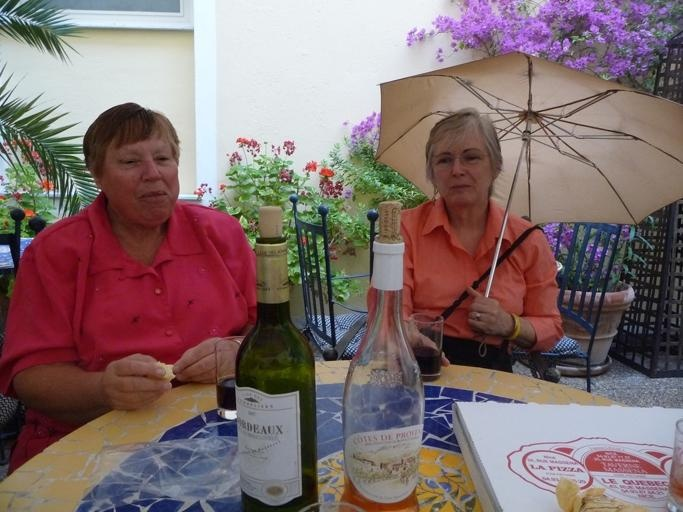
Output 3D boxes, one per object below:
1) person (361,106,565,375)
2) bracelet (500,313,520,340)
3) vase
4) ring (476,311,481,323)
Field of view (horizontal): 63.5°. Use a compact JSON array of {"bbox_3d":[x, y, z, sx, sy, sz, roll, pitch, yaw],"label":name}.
[{"bbox_3d":[0.532,0.139,2.569,0.947,1.580,0.741,4,10,9],"label":"person"},{"bbox_3d":[0.707,0.290,2.307,0.045,0.102,0.074,-4,-18,-2],"label":"bracelet"},{"bbox_3d":[1.872,0.545,4.292,0.676,0.746,0.717,-10,16,-31],"label":"vase"},{"bbox_3d":[0.555,0.244,2.241,0.021,0.034,0.004,0,11,13],"label":"ring"}]
